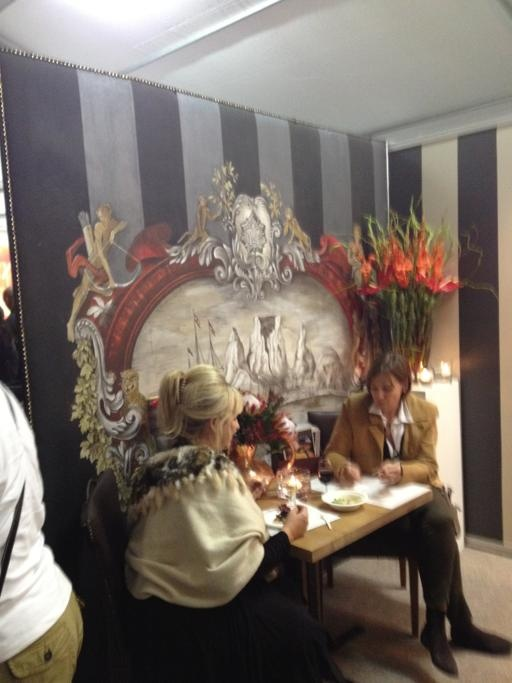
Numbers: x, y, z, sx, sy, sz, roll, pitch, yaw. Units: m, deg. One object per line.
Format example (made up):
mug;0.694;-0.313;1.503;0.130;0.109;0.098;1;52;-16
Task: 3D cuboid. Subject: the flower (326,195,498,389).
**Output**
flower;0.721;-0.270;2.717;0.576;0.902;0.612;-9;21;-27

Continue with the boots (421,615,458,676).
boots;0.685;1.112;2.097;0.128;0.208;0.241;0;12;18

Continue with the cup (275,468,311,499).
cup;0.140;0.519;2.060;0.094;0.090;0.107;-1;-6;10

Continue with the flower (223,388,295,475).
flower;0.018;0.331;2.259;0.276;0.344;0.266;4;1;43
